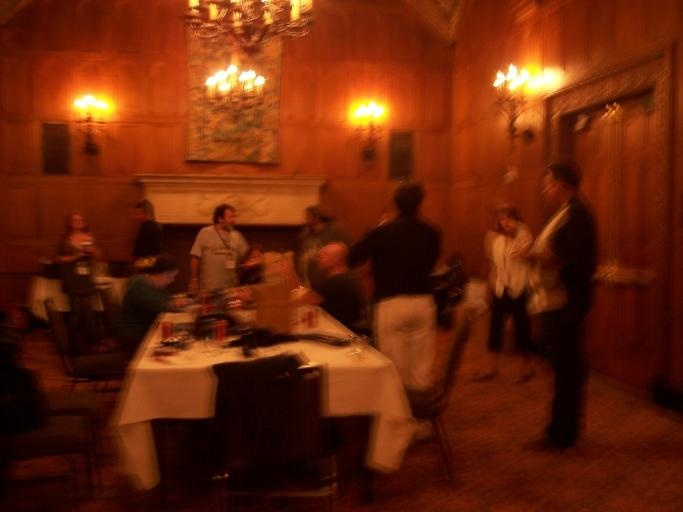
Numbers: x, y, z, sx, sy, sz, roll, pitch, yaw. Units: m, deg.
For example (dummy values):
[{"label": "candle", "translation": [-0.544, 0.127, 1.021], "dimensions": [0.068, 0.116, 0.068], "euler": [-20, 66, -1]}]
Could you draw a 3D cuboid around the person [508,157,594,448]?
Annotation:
[{"label": "person", "translation": [1.666, 0.366, 4.526], "dimensions": [0.489, 2.126, 0.441], "euler": [3, 10, 22]}]

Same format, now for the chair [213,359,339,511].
[{"label": "chair", "translation": [-0.357, 1.027, 3.244], "dimensions": [0.657, 1.067, 0.395], "euler": [-2, 9, -5]}]

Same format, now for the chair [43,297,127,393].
[{"label": "chair", "translation": [-2.032, 0.756, 4.884], "dimensions": [0.715, 0.924, 0.674], "euler": [-1, 0, -15]}]

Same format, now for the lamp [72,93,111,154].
[{"label": "lamp", "translation": [-3.627, -1.895, 8.687], "dimensions": [0.523, 0.882, 0.211], "euler": [-4, 10, -22]}]

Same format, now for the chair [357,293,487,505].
[{"label": "chair", "translation": [0.677, 0.947, 4.203], "dimensions": [1.070, 1.646, 0.901], "euler": [2, -3, -6]}]

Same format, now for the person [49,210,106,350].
[{"label": "person", "translation": [-2.929, 0.130, 6.611], "dimensions": [0.355, 1.333, 0.327], "euler": [0, 33, -17]}]

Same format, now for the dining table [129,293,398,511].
[{"label": "dining table", "translation": [-0.445, 0.927, 3.563], "dimensions": [1.206, 0.578, 2.065], "euler": [-1, -3, -3]}]
